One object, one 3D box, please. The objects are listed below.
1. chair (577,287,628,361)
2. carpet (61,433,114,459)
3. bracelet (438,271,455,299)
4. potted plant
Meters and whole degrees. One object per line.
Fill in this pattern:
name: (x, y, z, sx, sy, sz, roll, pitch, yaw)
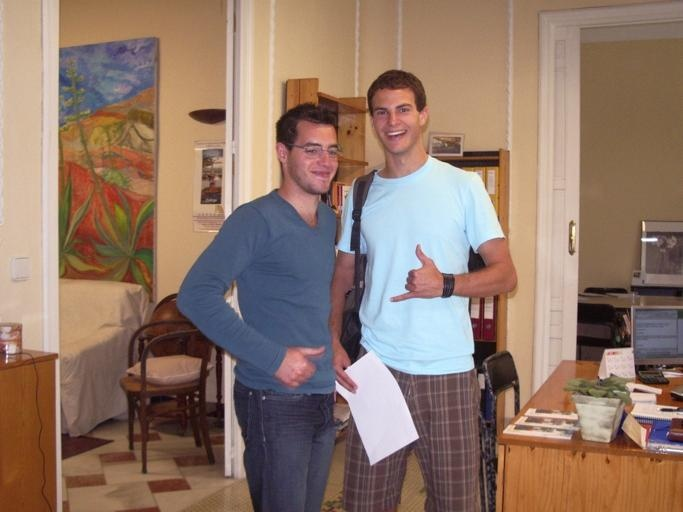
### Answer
chair: (2.691, 0.750, 6.182, 0.569, 0.812, 0.660, 4, 9, 22)
carpet: (-1.893, 1.364, 4.369, 0.348, 0.056, 0.330, 1, 9, -25)
bracelet: (0.421, 0.109, 2.342, 0.058, 0.094, 0.085, 5, 44, 15)
potted plant: (1.099, 0.637, 2.532, 0.260, 0.248, 0.269, -1, -6, 19)
